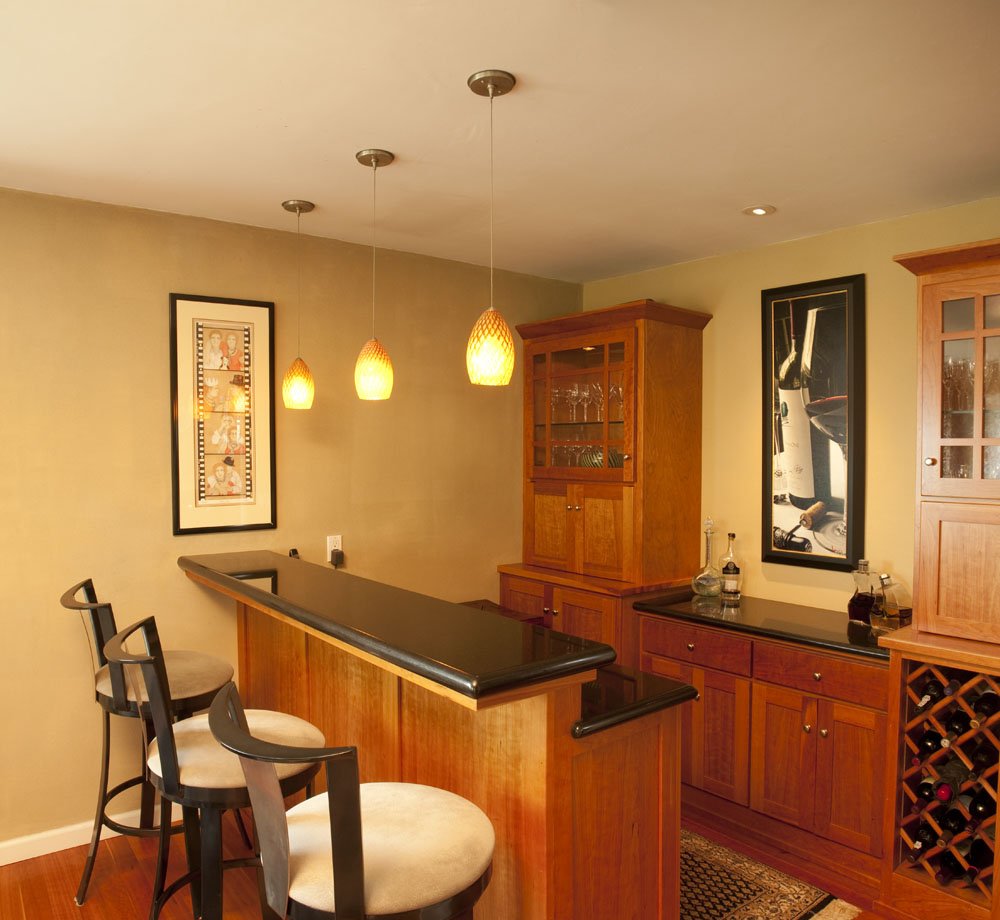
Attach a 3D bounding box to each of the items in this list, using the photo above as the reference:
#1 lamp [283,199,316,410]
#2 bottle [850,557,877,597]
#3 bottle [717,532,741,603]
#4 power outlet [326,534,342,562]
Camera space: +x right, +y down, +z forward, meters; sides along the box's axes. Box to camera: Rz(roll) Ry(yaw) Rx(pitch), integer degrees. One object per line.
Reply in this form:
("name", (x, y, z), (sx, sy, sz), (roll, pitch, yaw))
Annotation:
("lamp", (-0.848, -0.630, 3.763), (0.144, 0.824, 0.516), (-1, 3, -14))
("bottle", (1.513, 0.486, 3.699), (0.084, 0.134, 0.186), (0, 2, 20))
("bottle", (1.079, 0.501, 4.171), (0.095, 0.294, 0.381), (0, 2, 14))
("power outlet", (-0.765, 0.405, 4.159), (0.041, 0.122, 0.094), (2, 3, 43))
